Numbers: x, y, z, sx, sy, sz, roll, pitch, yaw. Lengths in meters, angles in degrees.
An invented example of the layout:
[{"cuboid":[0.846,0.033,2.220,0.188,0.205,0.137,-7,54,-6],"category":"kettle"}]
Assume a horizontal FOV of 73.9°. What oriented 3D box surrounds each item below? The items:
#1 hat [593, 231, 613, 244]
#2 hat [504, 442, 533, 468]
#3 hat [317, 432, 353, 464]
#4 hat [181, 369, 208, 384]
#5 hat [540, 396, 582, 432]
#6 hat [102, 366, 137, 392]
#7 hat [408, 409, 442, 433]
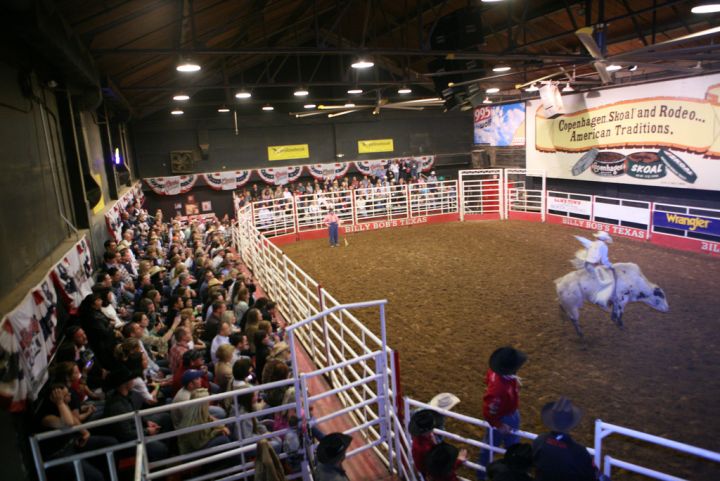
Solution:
[{"cuboid":[6.480,-0.071,12.785,0.435,0.144,0.391,19,8,-43],"category":"hat"},{"cuboid":[1.958,2.675,5.915,0.359,0.228,0.231,-6,9,10],"category":"hat"},{"cuboid":[-0.338,2.856,6.553,0.516,0.331,0.336,-11,9,-22],"category":"hat"},{"cuboid":[-2.637,2.141,7.576,0.318,0.217,0.260,-9,9,-9],"category":"hat"},{"cuboid":[2.594,2.191,6.132,0.534,0.221,0.622,-2,11,40],"category":"hat"},{"cuboid":[-3.615,2.101,7.213,0.422,0.150,0.358,-22,21,-20],"category":"hat"},{"cuboid":[0.890,2.529,6.594,0.389,0.128,0.332,-3,27,27],"category":"hat"}]
